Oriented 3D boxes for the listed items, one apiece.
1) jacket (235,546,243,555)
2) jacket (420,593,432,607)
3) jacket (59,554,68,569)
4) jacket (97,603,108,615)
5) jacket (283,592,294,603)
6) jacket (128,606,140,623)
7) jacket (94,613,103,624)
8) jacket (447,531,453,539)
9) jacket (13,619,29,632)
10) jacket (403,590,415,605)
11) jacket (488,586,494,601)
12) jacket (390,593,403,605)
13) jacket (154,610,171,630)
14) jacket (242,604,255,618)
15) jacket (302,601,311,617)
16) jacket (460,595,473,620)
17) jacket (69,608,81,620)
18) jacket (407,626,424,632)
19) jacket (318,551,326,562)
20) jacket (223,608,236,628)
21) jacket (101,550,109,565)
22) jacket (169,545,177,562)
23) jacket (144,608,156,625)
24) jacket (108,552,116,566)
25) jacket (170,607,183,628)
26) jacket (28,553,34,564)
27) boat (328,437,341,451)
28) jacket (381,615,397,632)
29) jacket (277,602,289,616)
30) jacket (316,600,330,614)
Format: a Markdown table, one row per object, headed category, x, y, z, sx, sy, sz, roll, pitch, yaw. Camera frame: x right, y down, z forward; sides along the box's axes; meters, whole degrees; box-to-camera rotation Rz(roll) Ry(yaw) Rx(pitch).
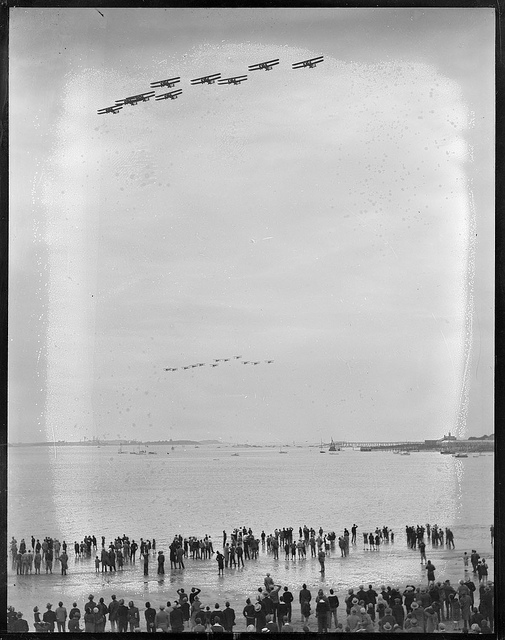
| category | x | y | z | sx | sy | sz | roll | pitch | yaw |
| --- | --- | --- | --- | --- | --- | --- | --- | --- | --- |
| jacket | -0.250 | 4.248 | 28.624 | 0.146 | 0.193 | 0.095 | 0 | 3 | 12 |
| jacket | 2.875 | 4.680 | 25.935 | 0.221 | 0.298 | 0.149 | 0 | -9 | 13 |
| jacket | -3.262 | 4.198 | 26.968 | 0.051 | 0.247 | 0.159 | -10 | -13 | 40 |
| jacket | -2.508 | 4.852 | 26.078 | 0.165 | 0.194 | 0.266 | -2 | -11 | -6 |
| jacket | 0.597 | 4.665 | 26.198 | 0.194 | 0.256 | 0.130 | 0 | 4 | 6 |
| jacket | -1.973 | 4.933 | 26.080 | 0.254 | 0.392 | 0.183 | 1 | -1 | -3 |
| jacket | -2.554 | 4.971 | 25.877 | 0.188 | 0.237 | 0.117 | 0 | -3 | 12 |
| jacket | 3.371 | 3.707 | 26.741 | 0.090 | 0.195 | 0.094 | -1 | 3 | 8 |
| jacket | -3.756 | 4.987 | 25.334 | 0.240 | 0.313 | 0.158 | -1 | 2 | -3 |
| jacket | 2.598 | 4.664 | 26.245 | 0.239 | 0.326 | 0.167 | 0 | -1 | 5 |
| jacket | 3.924 | 4.502 | 25.607 | 0.035 | 0.173 | 0.168 | 3 | -7 | -7 |
| jacket | 2.387 | 4.678 | 26.170 | 0.194 | 0.317 | 0.160 | 1 | -1 | 8 |
| jacket | -1.455 | 4.921 | 25.711 | 0.318 | 0.417 | 0.215 | -2 | -6 | 5 |
| jacket | -0.071 | 4.832 | 25.963 | 0.228 | 0.276 | 0.144 | -1 | -1 | 11 |
| jacket | 0.892 | 4.881 | 26.196 | 0.121 | 0.258 | 0.236 | -3 | -11 | 1 |
| jacket | 3.536 | 4.782 | 25.855 | 0.176 | 0.406 | 0.216 | 4 | -12 | -31 |
| jacket | -3.000 | 4.936 | 26.154 | 0.155 | 0.266 | 0.131 | 4 | -4 | 3 |
| jacket | 2.624 | 5.017 | 25.179 | 0.260 | 0.102 | 0.376 | -5 | -12 | 6 |
| jacket | 1.225 | 4.224 | 27.705 | 0.138 | 0.221 | 0.112 | 1 | 3 | 24 |
| jacket | -0.375 | 4.943 | 25.760 | 0.195 | 0.318 | 0.118 | 5 | -12 | -37 |
| jacket | -2.559 | 4.144 | 27.122 | 0.154 | 0.242 | 0.107 | 5 | -12 | -34 |
| jacket | -1.434 | 4.210 | 28.001 | 0.148 | 0.291 | 0.216 | 1 | -11 | -18 |
| jacket | -1.696 | 4.924 | 25.854 | 0.166 | 0.251 | 0.087 | -1 | 11 | 11 |
| jacket | -2.442 | 4.211 | 27.318 | 0.074 | 0.231 | 0.233 | -6 | -11 | 20 |
| jacket | -1.257 | 4.919 | 25.600 | 0.266 | 0.420 | 0.206 | 0 | -1 | -1 |
| jacket | -3.753 | 4.049 | 26.350 | 0.060 | 0.177 | 0.133 | -10 | -13 | 37 |
| boat | 1.539 | 2.378 | 29.444 | 0.206 | 0.316 | 0.174 | -3 | 2 | 9 |
| jacket | 2.201 | 4.977 | 25.372 | 0.266 | 0.377 | 0.140 | 2 | 6 | 3 |
| jacket | 0.499 | 4.867 | 26.049 | 0.190 | 0.337 | 0.161 | 1 | 0 | 7 |
| jacket | 1.156 | 4.762 | 25.746 | 0.224 | 0.281 | 0.144 | 1 | 0 | 7 |
